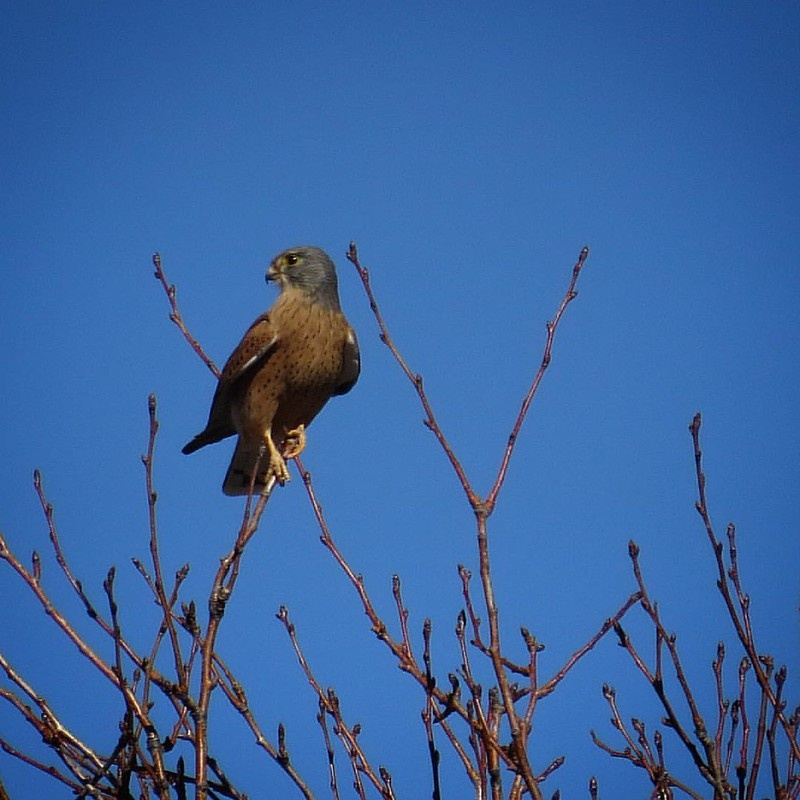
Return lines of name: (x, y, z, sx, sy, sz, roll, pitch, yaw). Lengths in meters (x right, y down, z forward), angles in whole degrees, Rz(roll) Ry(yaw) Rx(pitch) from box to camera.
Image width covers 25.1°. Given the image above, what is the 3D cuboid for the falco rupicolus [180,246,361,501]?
falco rupicolus: (-0.382, -0.136, 6.098, 0.359, 0.910, 0.495, 18, -30, -37)
